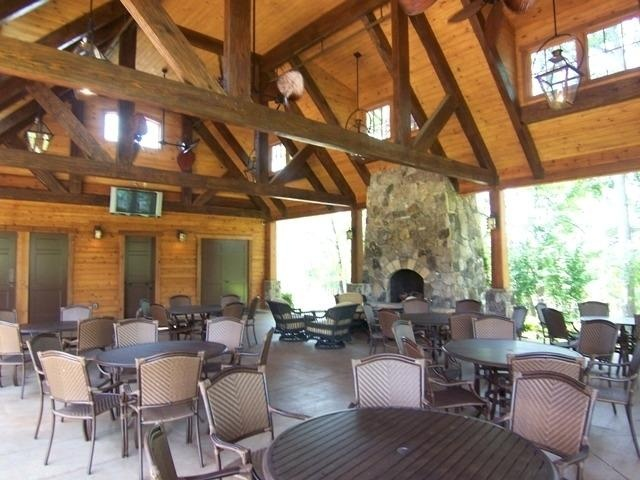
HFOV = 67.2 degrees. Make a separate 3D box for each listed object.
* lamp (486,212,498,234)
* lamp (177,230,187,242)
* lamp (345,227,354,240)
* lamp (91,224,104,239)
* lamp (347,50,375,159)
[{"bbox_3d":[3.669,-0.383,10.241,0.195,0.417,0.283,-4,-5,20],"label":"lamp"},{"bbox_3d":[-3.958,-0.104,13.874,0.264,0.352,0.371,-5,-6,21],"label":"lamp"},{"bbox_3d":[0.799,-0.175,13.067,0.266,0.392,0.277,-2,-3,23],"label":"lamp"},{"bbox_3d":[-5.695,-0.218,12.359,0.263,0.363,0.216,1,-5,-36],"label":"lamp"},{"bbox_3d":[0.798,-3.038,10.788,0.536,2.044,2.182,-3,-4,6],"label":"lamp"}]
